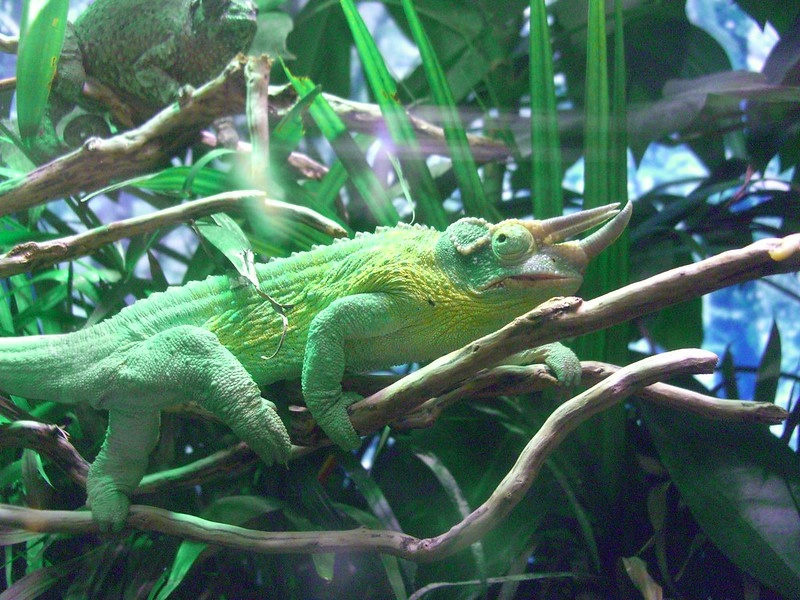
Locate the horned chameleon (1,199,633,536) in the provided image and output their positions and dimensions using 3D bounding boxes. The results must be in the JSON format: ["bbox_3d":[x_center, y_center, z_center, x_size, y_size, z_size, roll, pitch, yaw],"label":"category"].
[{"bbox_3d":[-0.136,0.180,2.039,1.567,0.536,0.582,-10,33,8],"label":"horned chameleon"}]
